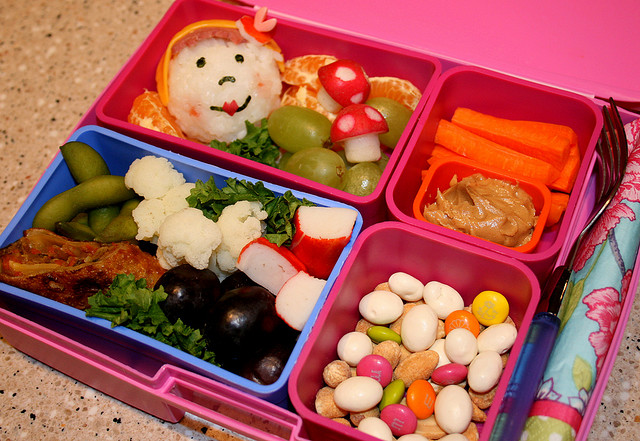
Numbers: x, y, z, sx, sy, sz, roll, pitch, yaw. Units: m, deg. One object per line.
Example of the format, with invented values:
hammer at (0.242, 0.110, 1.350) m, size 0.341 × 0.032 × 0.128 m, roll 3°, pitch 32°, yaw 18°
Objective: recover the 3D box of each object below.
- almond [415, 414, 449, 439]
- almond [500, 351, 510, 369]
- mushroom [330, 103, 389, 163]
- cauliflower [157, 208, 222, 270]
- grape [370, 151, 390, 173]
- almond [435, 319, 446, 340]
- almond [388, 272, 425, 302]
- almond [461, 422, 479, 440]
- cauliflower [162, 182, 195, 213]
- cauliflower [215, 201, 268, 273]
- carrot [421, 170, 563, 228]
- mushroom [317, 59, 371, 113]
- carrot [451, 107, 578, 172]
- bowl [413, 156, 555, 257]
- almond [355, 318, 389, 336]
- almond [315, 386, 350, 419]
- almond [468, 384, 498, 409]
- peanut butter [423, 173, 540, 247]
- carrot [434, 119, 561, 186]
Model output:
almond at (0.292, 0.536, 1.482) m, size 0.062 × 0.035 × 0.072 m, roll -4°, pitch 87°, yaw 7°
almond at (0.500, 0.376, 1.556) m, size 0.020 × 0.040 × 0.032 m, roll 15°, pitch 25°, yaw 32°
mushroom at (0.131, -0.277, 1.839) m, size 0.190 × 0.169 × 0.163 m, roll -10°, pitch 33°, yaw 11°
cauliflower at (-0.372, 0.045, 1.629) m, size 0.167 × 0.093 × 0.148 m, roll 32°, pitch 73°, yaw 12°
grape at (0.204, -0.188, 1.863) m, size 0.055 × 0.039 × 0.069 m, roll 3°, pitch 30°, yaw 11°
almond at (0.341, 0.311, 1.615) m, size 0.039 × 0.020 × 0.043 m, roll -4°, pitch 88°, yaw 3°
almond at (0.271, 0.209, 1.666) m, size 0.099 × 0.071 × 0.060 m, roll -4°, pitch 90°, yaw 30°
almond at (0.394, 0.553, 1.493) m, size 0.045 × 0.014 × 0.047 m, roll 17°, pitch 59°, yaw -26°
cauliflower at (-0.424, -0.067, 1.694) m, size 0.065 × 0.050 × 0.090 m, roll 40°, pitch 87°, yaw 14°
cauliflower at (-0.232, 0.027, 1.704) m, size 0.129 × 0.212 × 0.132 m, roll 20°, pitch 37°, yaw 32°
carrot at (0.538, -0.060, 1.749) m, size 0.182 × 0.059 × 0.212 m, roll -26°, pitch 21°, yaw -18°
mushroom at (0.078, -0.431, 1.902) m, size 0.154 × 0.163 × 0.166 m, roll -35°, pitch 103°, yaw 14°
carrot at (0.639, -0.266, 1.880) m, size 0.294 × 0.091 × 0.199 m, roll 21°, pitch 60°, yaw 23°
bowl at (0.506, -0.023, 1.788) m, size 0.361 × 0.127 × 0.299 m, roll 21°, pitch 73°, yaw 18°
almond at (0.149, 0.307, 1.634) m, size 0.094 × 0.042 × 0.050 m, roll 9°, pitch 70°, yaw 4°
almond at (0.033, 0.484, 1.504) m, size 0.079 × 0.047 × 0.068 m, roll 11°, pitch 68°, yaw -1°
almond at (0.435, 0.470, 1.521) m, size 0.076 × 0.060 × 0.053 m, roll -5°, pitch 69°, yaw -1°
peanut butter at (0.493, -0.033, 1.723) m, size 0.263 × 0.092 × 0.230 m, roll 29°, pitch 59°, yaw 22°
carrot at (0.584, -0.234, 1.857) m, size 0.428 × 0.072 × 0.136 m, roll 4°, pitch 77°, yaw 9°
